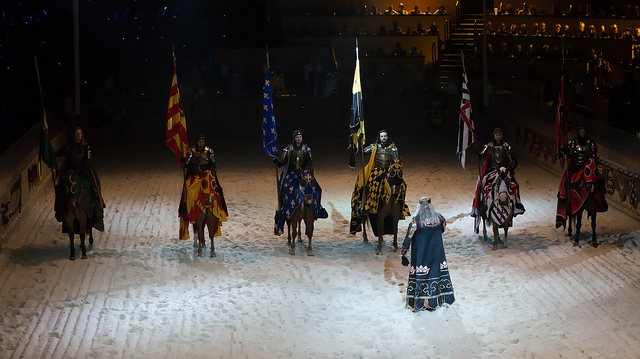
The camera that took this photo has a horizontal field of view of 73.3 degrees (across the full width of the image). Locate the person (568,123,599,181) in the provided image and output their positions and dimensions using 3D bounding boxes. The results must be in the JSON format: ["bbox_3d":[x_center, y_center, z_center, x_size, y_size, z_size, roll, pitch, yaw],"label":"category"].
[{"bbox_3d":[7.328,-0.770,11.996,0.736,1.442,0.919,12,23,30],"label":"person"}]

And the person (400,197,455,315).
[{"bbox_3d":[2.436,1.751,9.608,1.184,2.537,0.746,4,20,11],"label":"person"}]

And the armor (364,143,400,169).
[{"bbox_3d":[1.767,-0.663,12.304,1.149,0.860,0.363,3,-17,1],"label":"armor"}]

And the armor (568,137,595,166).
[{"bbox_3d":[7.166,-0.734,11.750,0.787,0.938,0.539,0,-7,9],"label":"armor"}]

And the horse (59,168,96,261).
[{"bbox_3d":[-7.008,0.818,12.255,0.914,2.576,3.286,-4,10,-26],"label":"horse"}]

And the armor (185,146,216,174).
[{"bbox_3d":[-3.285,-0.483,11.899,1.065,1.091,0.643,0,-1,-15],"label":"armor"}]

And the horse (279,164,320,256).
[{"bbox_3d":[-0.599,0.908,12.032,1.131,2.446,0.665,1,20,2],"label":"horse"}]

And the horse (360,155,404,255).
[{"bbox_3d":[1.970,0.758,12.080,0.755,2.651,0.727,-2,20,-6],"label":"horse"}]

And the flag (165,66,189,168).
[{"bbox_3d":[-4.151,-1.701,12.171,0.599,2.861,2.171,-7,21,-18],"label":"flag"}]

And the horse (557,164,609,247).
[{"bbox_3d":[7.278,0.701,11.960,1.188,2.276,0.675,13,24,31],"label":"horse"}]

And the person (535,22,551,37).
[{"bbox_3d":[13.208,-8.761,25.244,0.774,0.795,0.896,9,22,23],"label":"person"}]

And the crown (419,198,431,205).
[{"bbox_3d":[2.366,0.498,9.564,0.267,0.124,0.153,-4,20,-12],"label":"crown"}]

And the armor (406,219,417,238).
[{"bbox_3d":[2.004,1.104,9.495,0.221,0.361,0.155,16,-2,4],"label":"armor"}]

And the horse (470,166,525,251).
[{"bbox_3d":[4.992,0.811,12.116,1.295,2.296,0.655,10,22,25],"label":"horse"}]

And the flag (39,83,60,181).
[{"bbox_3d":[-7.532,-1.373,11.732,0.261,2.805,0.533,7,12,12],"label":"flag"}]

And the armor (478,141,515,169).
[{"bbox_3d":[4.989,-0.851,12.078,0.656,0.365,1.133,-5,12,-7],"label":"armor"}]

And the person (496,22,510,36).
[{"bbox_3d":[11.135,-9.011,26.029,0.787,0.780,0.833,4,4,1],"label":"person"}]

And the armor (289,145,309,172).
[{"bbox_3d":[-0.597,-0.565,11.848,0.546,0.619,0.387,-2,20,-5],"label":"armor"}]

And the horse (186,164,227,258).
[{"bbox_3d":[-3.161,0.949,11.790,1.026,2.426,0.619,-7,21,-17],"label":"horse"}]

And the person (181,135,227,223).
[{"bbox_3d":[-3.325,0.002,11.846,1.158,2.377,0.741,-7,21,-18],"label":"person"}]
